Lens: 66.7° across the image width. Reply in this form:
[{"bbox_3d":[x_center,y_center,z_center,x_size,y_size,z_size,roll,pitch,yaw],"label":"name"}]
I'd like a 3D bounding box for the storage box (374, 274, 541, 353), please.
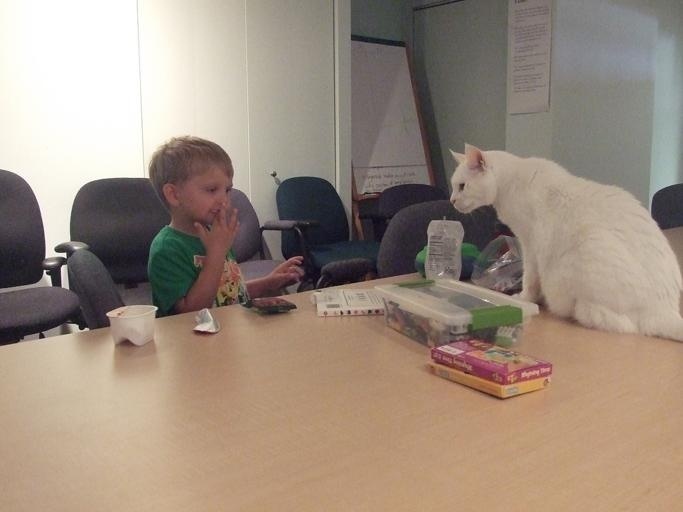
[{"bbox_3d":[0.183,0.068,0.958,0.141,0.065,0.205,-4,11,-29],"label":"storage box"}]

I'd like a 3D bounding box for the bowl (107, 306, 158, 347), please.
[{"bbox_3d":[-0.376,0.125,0.940,0.079,0.061,0.068,0,4,37],"label":"bowl"}]
